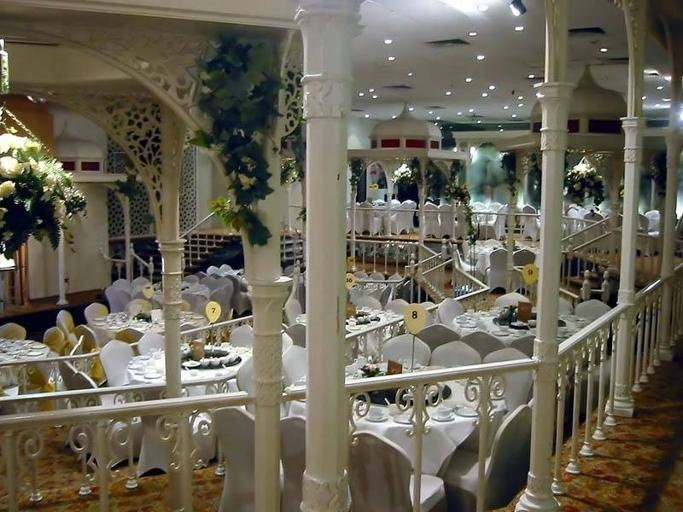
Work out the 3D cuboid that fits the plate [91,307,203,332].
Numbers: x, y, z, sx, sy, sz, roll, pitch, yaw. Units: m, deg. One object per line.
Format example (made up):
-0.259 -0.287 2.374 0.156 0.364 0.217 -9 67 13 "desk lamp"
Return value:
-2.963 0.990 8.624 1.059 0.289 1.127 1 6 -1 "plate"
